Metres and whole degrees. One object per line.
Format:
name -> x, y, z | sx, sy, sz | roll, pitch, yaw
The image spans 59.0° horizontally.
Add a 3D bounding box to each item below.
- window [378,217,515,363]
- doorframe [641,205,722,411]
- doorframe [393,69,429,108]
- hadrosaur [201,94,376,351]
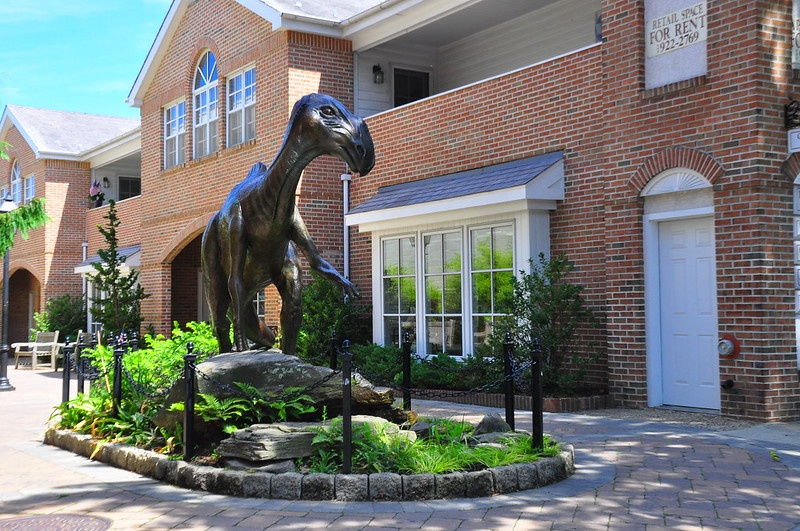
window -> 0.920, 0.553, 15.630 | 3.687, 2.743, 0.079 | -2, -4, 28
doorframe -> 4.909, 0.761, 12.324 | 1.251, 3.491, 0.498 | 1, 4, 25
doorframe -> 0.315, -5.102, 20.191 | 1.275, 1.278, 0.047 | -13, -43, 21
hadrosaur -> -1.957, -0.038, 11.001 | 2.147, 3.804, 5.734 | 7, -11, -22
